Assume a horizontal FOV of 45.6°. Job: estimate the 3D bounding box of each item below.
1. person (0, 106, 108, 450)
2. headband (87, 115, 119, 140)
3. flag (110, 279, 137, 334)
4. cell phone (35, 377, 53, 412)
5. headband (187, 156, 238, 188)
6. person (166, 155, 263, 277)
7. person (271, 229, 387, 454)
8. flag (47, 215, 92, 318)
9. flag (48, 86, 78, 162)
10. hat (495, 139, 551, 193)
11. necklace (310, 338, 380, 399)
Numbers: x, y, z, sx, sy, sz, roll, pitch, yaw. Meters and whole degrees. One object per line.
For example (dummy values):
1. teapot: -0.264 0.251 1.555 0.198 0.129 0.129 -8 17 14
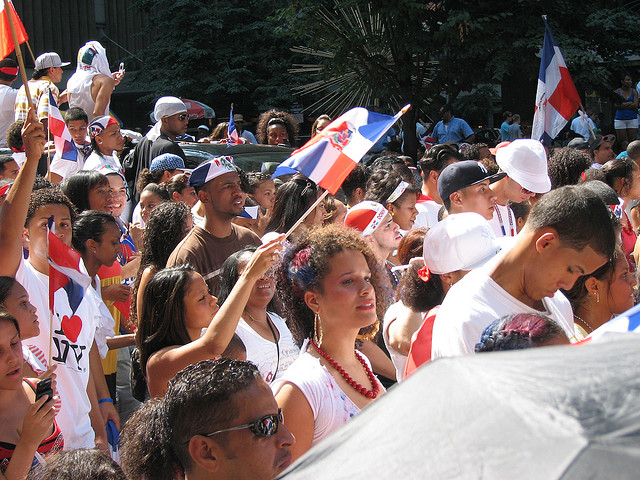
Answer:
1. person: -1.642 0.262 4.748 0.564 2.139 1.054 -3 9 -17
2. headband: -2.363 -1.177 8.335 0.273 0.158 0.227 -26 6 24
3. flag: -1.489 0.506 5.808 0.170 0.460 0.484 -3 9 -17
4. cell phone: -1.420 0.787 3.962 0.086 0.137 0.213 -3 9 -20
5. headband: -0.848 -0.542 6.097 0.359 0.231 0.284 -3 9 -18
6. person: -0.797 -0.173 5.944 0.467 1.030 1.026 8 13 35
7. person: 0.031 0.452 3.570 0.403 0.946 0.882 -7 2 18
8. flag: -1.550 0.230 4.649 0.168 0.573 0.414 1 9 6
9. flag: -2.496 -1.107 7.406 0.229 0.820 0.078 -10 -17 -17
10. hat: 1.689 -0.628 6.203 0.347 0.248 0.459 -27 61 -35
11. necklace: 0.136 0.641 3.874 0.351 0.263 0.281 -2 9 -13
